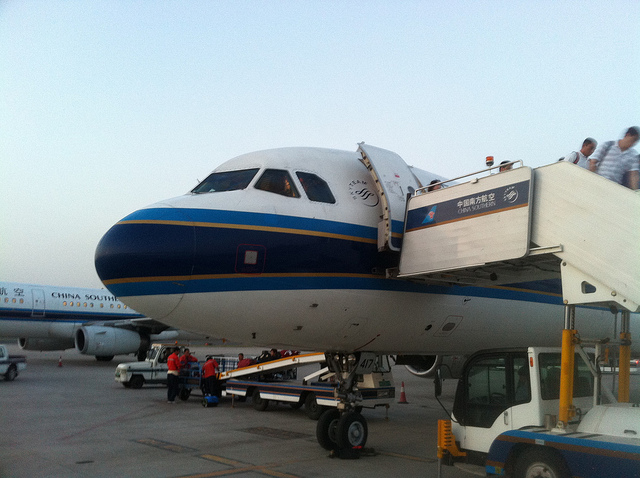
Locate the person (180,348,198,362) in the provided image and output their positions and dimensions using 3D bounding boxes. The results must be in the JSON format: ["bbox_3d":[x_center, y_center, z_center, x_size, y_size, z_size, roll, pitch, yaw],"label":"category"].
[{"bbox_3d":[-5.181,4.467,24.035,0.394,0.579,0.764,-29,-24,35],"label":"person"}]

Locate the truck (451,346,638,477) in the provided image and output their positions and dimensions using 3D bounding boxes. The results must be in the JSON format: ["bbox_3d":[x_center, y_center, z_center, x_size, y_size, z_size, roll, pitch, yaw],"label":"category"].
[{"bbox_3d":[4.061,3.136,11.609,3.131,1.540,2.108,-1,-7,40],"label":"truck"}]

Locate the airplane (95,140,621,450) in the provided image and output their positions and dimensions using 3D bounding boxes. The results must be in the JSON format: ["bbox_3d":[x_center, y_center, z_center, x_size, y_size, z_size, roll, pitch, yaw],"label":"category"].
[{"bbox_3d":[0.188,0.789,14.291,8.982,3.309,9.333,6,-7,-37],"label":"airplane"}]

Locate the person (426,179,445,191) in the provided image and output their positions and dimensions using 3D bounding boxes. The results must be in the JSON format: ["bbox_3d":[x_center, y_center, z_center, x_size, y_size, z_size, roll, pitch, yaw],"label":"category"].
[{"bbox_3d":[2.695,-1.272,14.474,0.322,0.328,0.911,1,-1,6],"label":"person"}]

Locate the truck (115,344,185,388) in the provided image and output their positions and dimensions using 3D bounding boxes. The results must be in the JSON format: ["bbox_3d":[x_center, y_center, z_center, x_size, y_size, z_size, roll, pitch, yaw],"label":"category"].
[{"bbox_3d":[-7.467,5.503,26.837,3.328,1.629,2.087,6,-10,-34],"label":"truck"}]

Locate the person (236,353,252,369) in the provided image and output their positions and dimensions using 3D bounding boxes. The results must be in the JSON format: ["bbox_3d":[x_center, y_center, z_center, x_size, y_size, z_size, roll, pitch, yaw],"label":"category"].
[{"bbox_3d":[-2.785,4.473,22.547,0.534,0.626,0.677,4,-45,-5],"label":"person"}]

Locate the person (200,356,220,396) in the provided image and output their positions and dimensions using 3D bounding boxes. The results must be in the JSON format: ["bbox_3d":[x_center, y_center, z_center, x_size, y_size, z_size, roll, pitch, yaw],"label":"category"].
[{"bbox_3d":[-3.928,4.889,22.256,0.504,1.334,0.736,1,-10,5],"label":"person"}]
